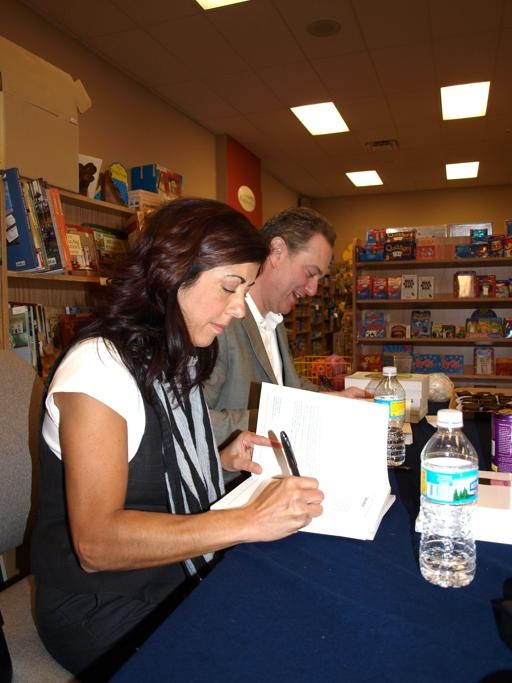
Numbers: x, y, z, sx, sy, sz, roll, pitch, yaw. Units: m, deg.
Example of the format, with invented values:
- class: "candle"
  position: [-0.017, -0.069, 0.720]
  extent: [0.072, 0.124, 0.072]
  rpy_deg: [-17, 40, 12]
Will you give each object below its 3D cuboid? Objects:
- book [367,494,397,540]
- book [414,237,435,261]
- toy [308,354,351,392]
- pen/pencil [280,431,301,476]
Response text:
- class: "book"
  position: [0.238, 0.334, 0.957]
  extent: [0.015, 0.064, 0.065]
  rpy_deg: [24, -16, 13]
- class: "book"
  position: [1.562, -0.832, 4.697]
  extent: [0.229, 0.210, 0.210]
  rpy_deg: [-1, -7, 17]
- class: "toy"
  position: [0.422, 0.173, 2.912]
  extent: [0.230, 0.134, 0.227]
  rpy_deg: [-1, 4, 12]
- class: "pen/pencil"
  position: [0.066, 0.218, 1.033]
  extent: [0.025, 0.109, 0.027]
  rpy_deg: [-15, -3, -27]
